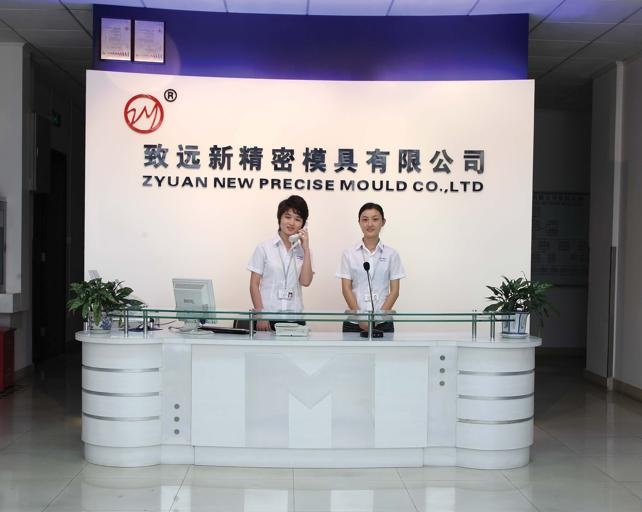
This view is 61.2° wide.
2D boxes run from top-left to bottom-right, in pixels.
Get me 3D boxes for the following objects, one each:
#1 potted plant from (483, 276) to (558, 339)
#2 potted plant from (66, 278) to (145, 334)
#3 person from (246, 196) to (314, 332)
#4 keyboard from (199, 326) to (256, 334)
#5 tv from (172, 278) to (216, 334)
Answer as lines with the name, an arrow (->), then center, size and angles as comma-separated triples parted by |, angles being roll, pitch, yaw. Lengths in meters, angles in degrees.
potted plant -> 1.743, 0.441, 4.904 | 0.557, 0.450, 0.446 | 0, 6, 3
potted plant -> -1.866, 0.412, 4.698 | 0.631, 0.450, 0.421 | 1, 1, -9
person -> -0.340, 0.062, 4.951 | 0.614, 1.225, 0.741 | 1, 1, -10
keyboard -> -0.838, 0.646, 4.719 | 0.290, 0.031, 0.164 | 4, 0, 5
tv -> -1.071, 0.421, 4.615 | 0.383, 0.459, 0.443 | 1, 1, -5
